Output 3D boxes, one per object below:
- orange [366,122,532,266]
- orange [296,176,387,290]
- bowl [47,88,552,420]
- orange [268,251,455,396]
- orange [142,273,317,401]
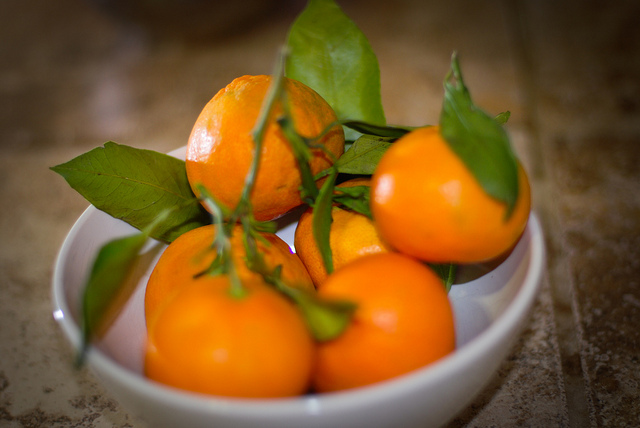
[{"bbox_3d":[0.157,-0.015,0.709,0.188,0.121,0.139,17,54,17],"label":"orange"},{"bbox_3d":[0.053,0.032,0.812,0.142,0.148,0.155,7,65,4],"label":"orange"},{"bbox_3d":[0.017,0.064,0.735,0.476,0.295,0.527,3,34,16],"label":"bowl"},{"bbox_3d":[0.030,0.135,0.756,0.194,0.170,0.175,-9,66,-31],"label":"orange"},{"bbox_3d":[-0.105,0.144,0.707,0.147,0.153,0.161,7,50,-1],"label":"orange"}]
